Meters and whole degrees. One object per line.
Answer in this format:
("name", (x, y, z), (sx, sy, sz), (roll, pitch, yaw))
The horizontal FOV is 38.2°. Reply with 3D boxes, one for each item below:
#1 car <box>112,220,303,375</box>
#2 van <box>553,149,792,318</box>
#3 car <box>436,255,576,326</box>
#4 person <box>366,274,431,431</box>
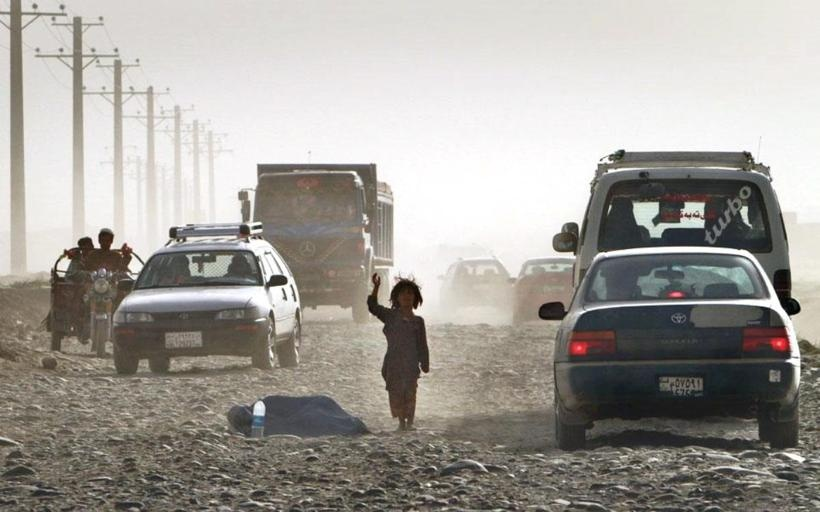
("car", (-3.328, 0.695, 20.168), (2.151, 2.123, 5.536), (0, 1, 0))
("van", (4.012, -0.383, 17.139), (3.770, 2.079, 2.641), (1, 0, 4))
("car", (2.488, 0.942, 31.679), (3.323, 2.489, 7.458), (0, 0, -10))
("person", (-0.167, 1.264, 15.902), (0.812, 1.961, 0.770), (0, 0, -16))
